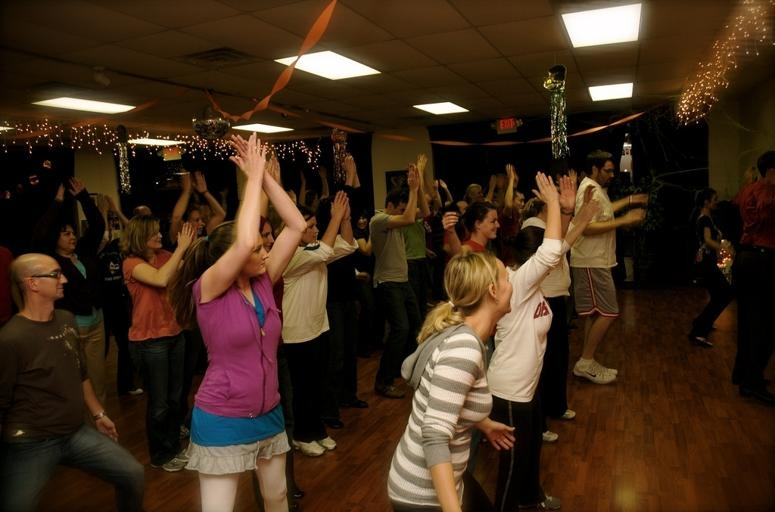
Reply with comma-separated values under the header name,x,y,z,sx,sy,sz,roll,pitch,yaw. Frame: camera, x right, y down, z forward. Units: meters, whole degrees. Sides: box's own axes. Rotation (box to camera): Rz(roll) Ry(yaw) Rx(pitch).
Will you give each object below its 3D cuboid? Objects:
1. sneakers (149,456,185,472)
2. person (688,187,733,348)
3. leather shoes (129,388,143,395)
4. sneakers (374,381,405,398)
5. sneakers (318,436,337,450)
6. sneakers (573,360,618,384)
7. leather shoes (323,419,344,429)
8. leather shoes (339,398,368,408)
name,x,y,z,sx,sy,sz,roll,pitch,yaw
sneakers,-1.730,1.603,4.181,0.254,0.119,0.102,-2,7,3
person,3.368,0.181,5.606,0.399,1.800,0.639,6,16,33
leather shoes,-2.613,1.388,5.597,0.136,0.060,0.049,-1,4,2
sneakers,0.015,1.303,5.301,0.295,0.130,0.122,-1,1,21
sneakers,-0.487,1.496,4.370,0.158,0.066,0.072,4,3,22
sneakers,2.048,1.129,5.329,0.390,0.191,0.207,0,13,20
leather shoes,-0.473,1.439,4.680,0.140,0.051,0.075,1,4,18
leather shoes,-0.327,1.372,5.106,0.265,0.105,0.099,-1,-1,10
